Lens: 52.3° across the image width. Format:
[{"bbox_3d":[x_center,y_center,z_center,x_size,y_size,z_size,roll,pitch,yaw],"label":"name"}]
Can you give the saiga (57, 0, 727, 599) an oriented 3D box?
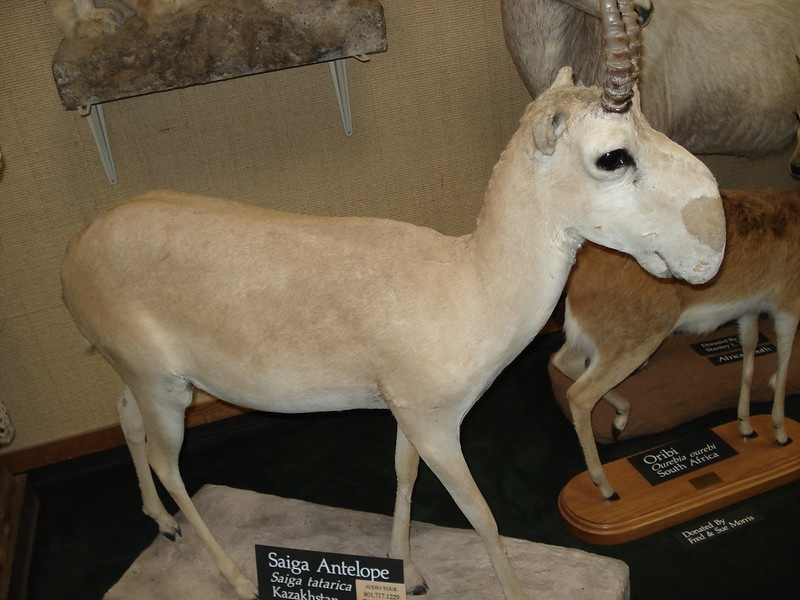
[{"bbox_3d":[-0.048,0.106,2.861,2.141,2.092,0.879,-8,35,-1],"label":"saiga"}]
